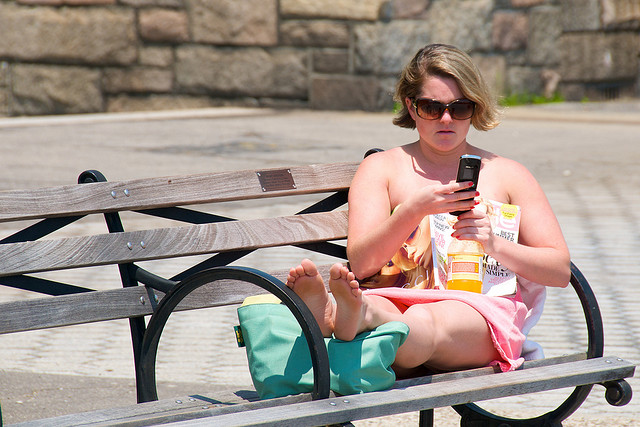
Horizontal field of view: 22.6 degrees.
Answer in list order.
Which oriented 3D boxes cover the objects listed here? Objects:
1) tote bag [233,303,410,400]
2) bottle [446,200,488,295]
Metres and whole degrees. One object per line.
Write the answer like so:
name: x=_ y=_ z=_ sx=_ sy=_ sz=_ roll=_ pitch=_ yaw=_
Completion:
tote bag: x=-0.003 y=1.103 z=13.161 sx=1.396 sy=0.747 sz=0.279 roll=-1 pitch=10 yaw=8
bottle: x=1.214 y=0.436 z=13.442 sx=0.324 sy=0.456 sz=0.212 roll=-2 pitch=10 yaw=4
